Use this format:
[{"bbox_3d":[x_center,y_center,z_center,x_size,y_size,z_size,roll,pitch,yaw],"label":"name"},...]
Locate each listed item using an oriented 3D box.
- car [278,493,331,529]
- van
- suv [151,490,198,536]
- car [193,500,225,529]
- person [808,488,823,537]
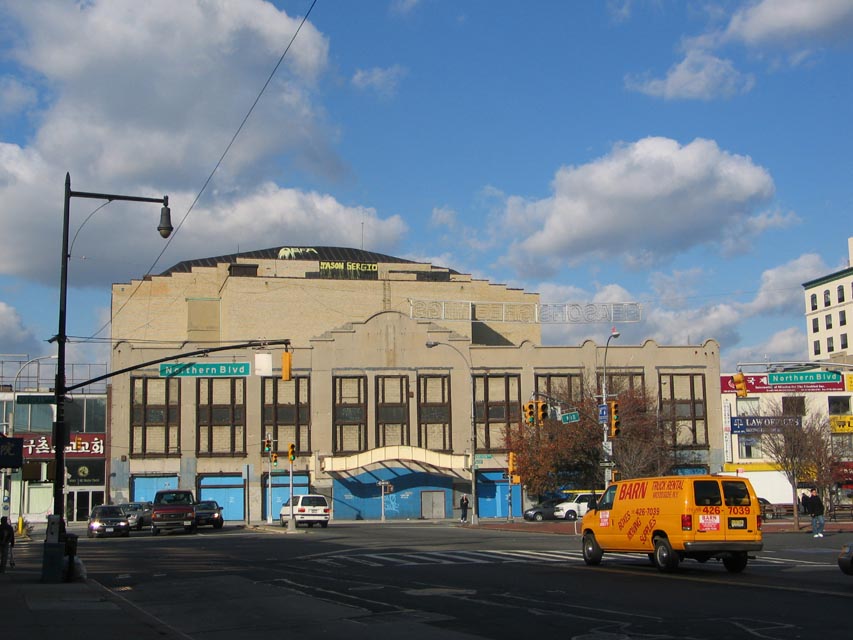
[{"bbox_3d":[-7.093,11.048,69.233,1.846,1.328,3.374,3,-5,-22],"label":"car"},{"bbox_3d":[7.961,6.685,39.444,3.107,2.387,5.299,7,-11,-31],"label":"van"},{"bbox_3d":[-13.543,10.257,63.419,1.568,1.522,2.885,1,-16,-10],"label":"suv"},{"bbox_3d":[-12.570,11.189,68.291,1.435,1.825,2.592,-1,-13,-9],"label":"car"},{"bbox_3d":[17.402,8.697,53.046,0.532,1.998,1.162,-7,-13,16],"label":"person"}]
